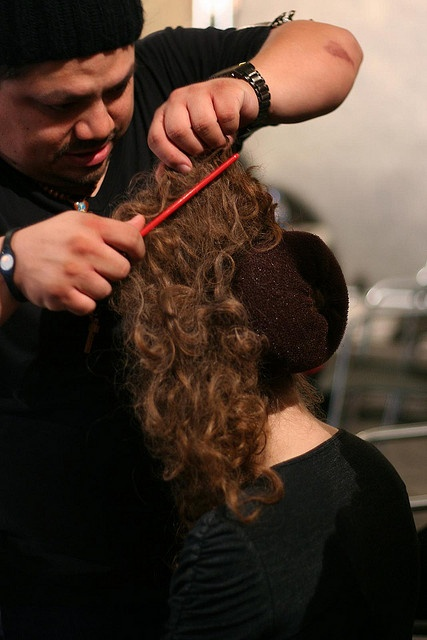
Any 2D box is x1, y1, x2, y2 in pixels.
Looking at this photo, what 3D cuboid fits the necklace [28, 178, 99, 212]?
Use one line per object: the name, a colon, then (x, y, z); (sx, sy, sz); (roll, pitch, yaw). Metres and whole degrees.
necklace: (-0.317, -0.258, 1.316); (0.118, 0.085, 0.027); (22, 64, -19)
